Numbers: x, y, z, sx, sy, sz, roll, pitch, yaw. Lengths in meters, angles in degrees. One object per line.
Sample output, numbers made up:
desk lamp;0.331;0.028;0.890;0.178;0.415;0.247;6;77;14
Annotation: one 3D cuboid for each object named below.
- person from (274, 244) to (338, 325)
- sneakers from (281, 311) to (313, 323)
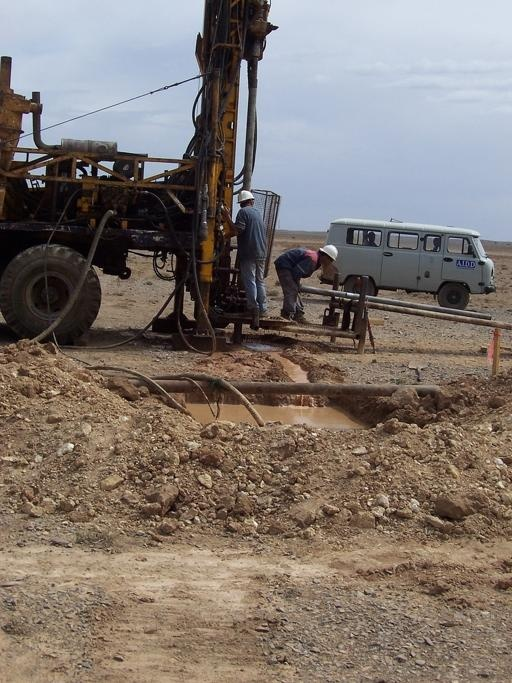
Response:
person;0.683;-0.824;11.392;0.805;1.246;1.267;9;14;24
sneakers;0.571;-0.366;12.062;0.370;0.112;0.218;14;-8;-11
